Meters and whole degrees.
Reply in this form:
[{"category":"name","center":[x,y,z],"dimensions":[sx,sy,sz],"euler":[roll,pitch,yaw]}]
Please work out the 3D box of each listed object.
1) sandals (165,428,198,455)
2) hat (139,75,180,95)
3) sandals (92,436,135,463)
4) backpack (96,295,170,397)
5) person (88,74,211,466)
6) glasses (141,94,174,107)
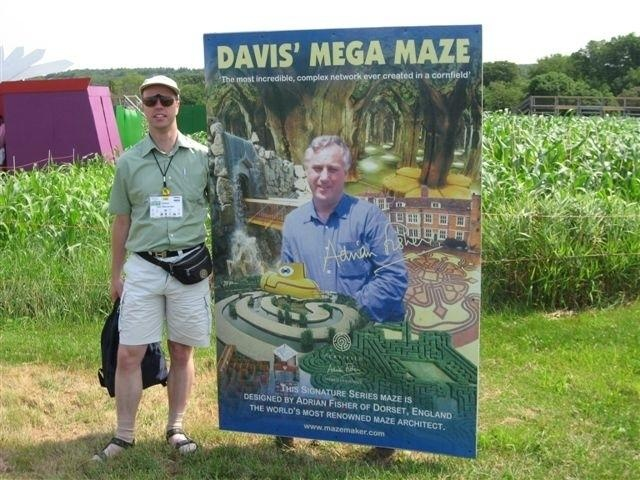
[{"category":"sandals","center":[-1.144,1.662,5.019],"dimensions":[0.141,0.117,0.275],"euler":[-9,16,-36]},{"category":"hat","center":[-1.257,-1.201,4.753],"dimensions":[0.290,0.155,0.278],"euler":[1,14,-2]},{"category":"sandals","center":[-1.652,1.671,4.899],"dimensions":[0.112,0.135,0.347],"euler":[-1,3,38]},{"category":"backpack","center":[-1.530,0.845,5.115],"dimensions":[0.571,0.780,0.379],"euler":[2,6,-29]},{"category":"person","center":[-1.296,0.248,4.817],"dimensions":[0.852,2.975,0.482],"euler":[-2,13,-11]},{"category":"glasses","center":[-1.252,-1.064,4.684],"dimensions":[0.245,0.096,0.080],"euler":[4,14,11]}]
